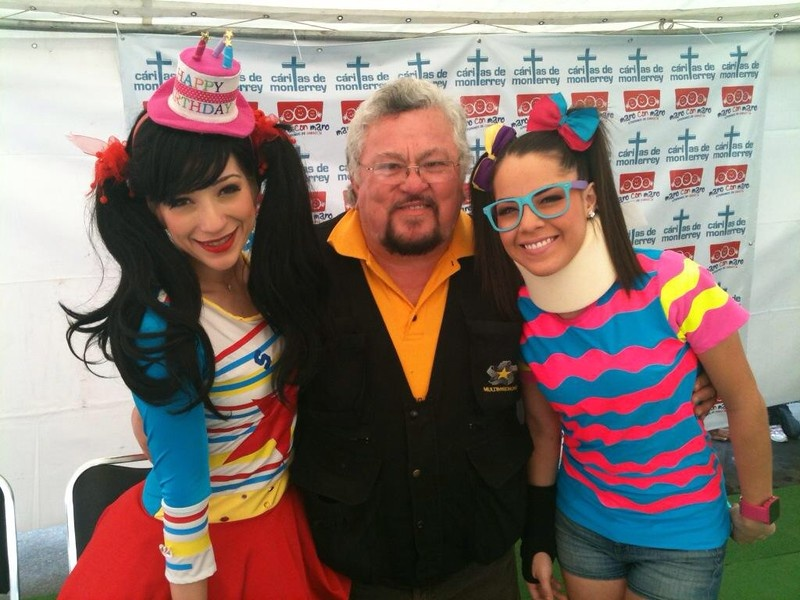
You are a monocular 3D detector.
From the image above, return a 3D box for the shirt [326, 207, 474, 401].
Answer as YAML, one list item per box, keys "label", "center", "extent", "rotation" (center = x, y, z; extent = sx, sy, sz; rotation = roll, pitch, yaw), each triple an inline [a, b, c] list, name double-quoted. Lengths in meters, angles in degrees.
- label: "shirt"
  center: [-0.008, 0.052, 3.024]
  extent: [0.770, 1.060, 0.387]
  rotation: [-1, -14, -7]

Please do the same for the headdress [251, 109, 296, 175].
- label: "headdress"
  center: [-0.553, -0.668, 2.864]
  extent: [0.111, 0.239, 0.244]
  rotation: [-4, 8, -39]

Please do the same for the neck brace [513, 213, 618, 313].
- label: "neck brace"
  center: [0.712, -0.129, 2.985]
  extent: [0.390, 0.397, 0.291]
  rotation: [-8, 43, -15]

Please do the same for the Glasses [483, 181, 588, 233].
- label: "Glasses"
  center: [0.562, -0.385, 2.821]
  extent: [0.423, 0.204, 0.108]
  rotation: [-2, 14, 6]

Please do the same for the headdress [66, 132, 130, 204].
- label: "headdress"
  center: [-1.162, -0.524, 2.687]
  extent: [0.195, 0.267, 0.162]
  rotation: [-5, 14, -7]

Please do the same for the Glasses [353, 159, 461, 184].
- label: "Glasses"
  center: [0.050, -0.576, 3.014]
  extent: [0.398, 0.092, 0.075]
  rotation: [-4, 14, -1]

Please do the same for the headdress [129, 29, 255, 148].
- label: "headdress"
  center: [-0.748, -0.875, 2.640]
  extent: [0.403, 0.301, 0.426]
  rotation: [5, 39, -21]

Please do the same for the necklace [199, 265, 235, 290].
- label: "necklace"
  center: [-0.755, -0.092, 2.804]
  extent: [0.104, 0.071, 0.083]
  rotation: [-4, -8, -5]

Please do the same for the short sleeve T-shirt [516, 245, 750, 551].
- label: "short sleeve T-shirt"
  center: [0.976, 0.460, 3.120]
  extent: [1.079, 1.256, 0.543]
  rotation: [-6, 6, 35]

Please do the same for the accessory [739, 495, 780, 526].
- label: "accessory"
  center: [1.541, 0.911, 2.911]
  extent: [0.146, 0.090, 0.115]
  rotation: [-2, 13, 31]
